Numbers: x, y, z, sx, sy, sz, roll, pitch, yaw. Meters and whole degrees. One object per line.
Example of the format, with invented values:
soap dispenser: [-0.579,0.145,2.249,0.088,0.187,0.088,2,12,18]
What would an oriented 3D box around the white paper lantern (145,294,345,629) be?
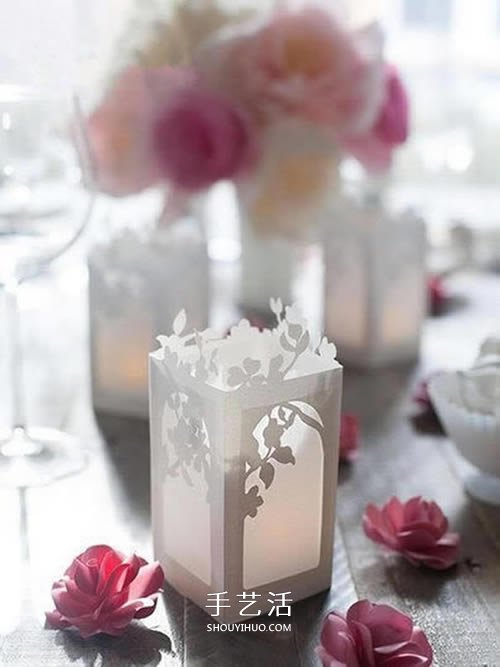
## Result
white paper lantern: [0.000,0.073,0.455,0.132,0.177,0.125,-15,31,-20]

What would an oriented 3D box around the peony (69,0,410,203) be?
peony: [-0.008,-0.223,0.721,0.267,0.202,0.091,-10,35,3]

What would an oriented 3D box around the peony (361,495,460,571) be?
peony: [0.114,0.136,0.529,0.060,0.032,0.050,19,-1,40]

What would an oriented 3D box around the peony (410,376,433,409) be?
peony: [0.185,0.063,0.796,0.009,0.030,0.031,26,17,-25]

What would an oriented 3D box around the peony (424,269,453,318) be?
peony: [0.222,-0.047,0.877,0.036,0.046,0.029,-10,30,-12]
